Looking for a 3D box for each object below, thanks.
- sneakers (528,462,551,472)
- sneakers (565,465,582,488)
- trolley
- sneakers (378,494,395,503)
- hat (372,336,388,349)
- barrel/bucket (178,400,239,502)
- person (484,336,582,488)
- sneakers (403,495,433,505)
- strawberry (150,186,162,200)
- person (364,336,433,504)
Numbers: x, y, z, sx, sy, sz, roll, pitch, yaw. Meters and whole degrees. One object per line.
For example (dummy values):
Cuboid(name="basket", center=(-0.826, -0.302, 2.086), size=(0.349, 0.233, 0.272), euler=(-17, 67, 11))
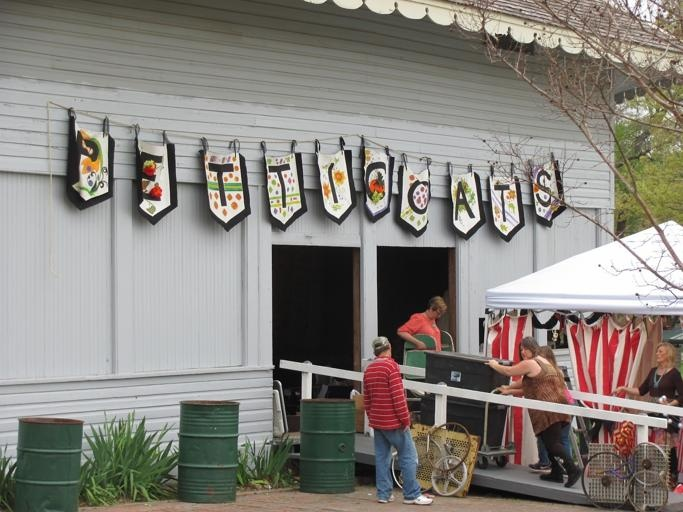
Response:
Cuboid(name="sneakers", center=(2.767, 2.934, 13.591), size=(0.283, 0.149, 0.109), euler=(4, 2, 30))
Cuboid(name="sneakers", center=(3.070, 2.892, 12.915), size=(0.300, 0.285, 0.158), euler=(2, -4, -41))
Cuboid(name="trolley", center=(2.069, 2.413, 13.835), size=(0.607, 1.109, 0.503), euler=(10, -12, -36))
Cuboid(name="sneakers", center=(0.627, 3.202, 12.950), size=(0.081, 0.109, 0.235), euler=(1, 4, 28))
Cuboid(name="hat", center=(0.546, 1.205, 13.142), size=(0.141, 0.155, 0.203), euler=(-9, -39, 0))
Cuboid(name="barrel/bucket", center=(-1.743, 2.569, 12.858), size=(0.777, 1.297, 0.311), euler=(0, -3, -10))
Cuboid(name="person", center=(2.689, 2.082, 13.234), size=(1.072, 1.941, 0.793), euler=(-1, -3, 15))
Cuboid(name="sneakers", center=(1.026, 3.153, 12.742), size=(0.398, 0.197, 0.145), euler=(-3, -1, 11))
Cuboid(name="strawberry", center=(-2.637, -0.882, 14.009), size=(0.080, 0.155, 0.185), euler=(0, 4, 16))
Cuboid(name="person", center=(0.697, 2.162, 12.937), size=(0.877, 2.148, 0.444), euler=(-2, -4, 27))
